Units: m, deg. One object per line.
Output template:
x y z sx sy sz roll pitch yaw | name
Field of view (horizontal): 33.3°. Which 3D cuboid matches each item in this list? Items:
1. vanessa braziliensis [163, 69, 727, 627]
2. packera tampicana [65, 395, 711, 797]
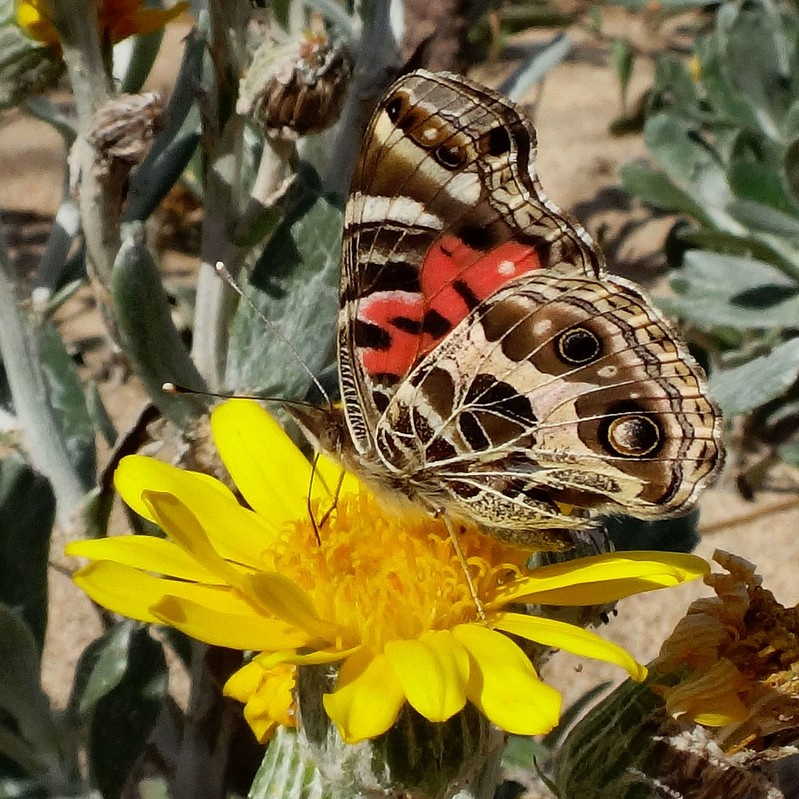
0.165 -0.125 2.726 1.090 0.981 1.121 -2 29 -12 | vanessa braziliensis
-0.060 0.402 2.298 1.045 0.664 0.658 6 11 21 | packera tampicana
